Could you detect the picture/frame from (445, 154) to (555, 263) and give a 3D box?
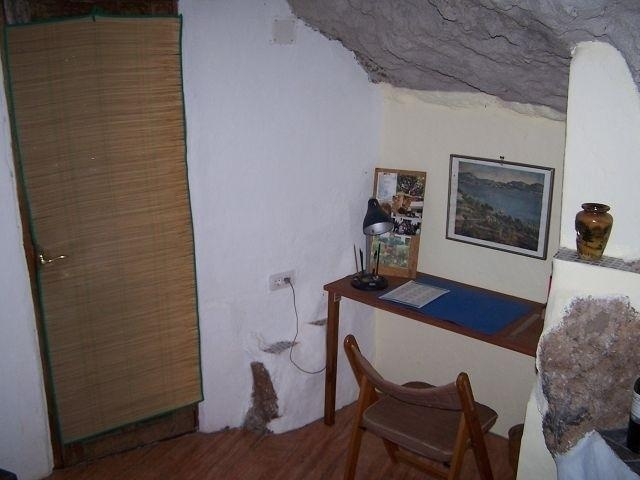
[{"bbox_3d":[1.044,-0.197,2.781,0.526,0.511,0.042,17,25,36],"label":"picture/frame"}]

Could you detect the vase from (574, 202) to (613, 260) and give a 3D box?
[{"bbox_3d":[1.046,-0.028,1.880,0.122,0.199,0.124,-5,15,-15],"label":"vase"}]
